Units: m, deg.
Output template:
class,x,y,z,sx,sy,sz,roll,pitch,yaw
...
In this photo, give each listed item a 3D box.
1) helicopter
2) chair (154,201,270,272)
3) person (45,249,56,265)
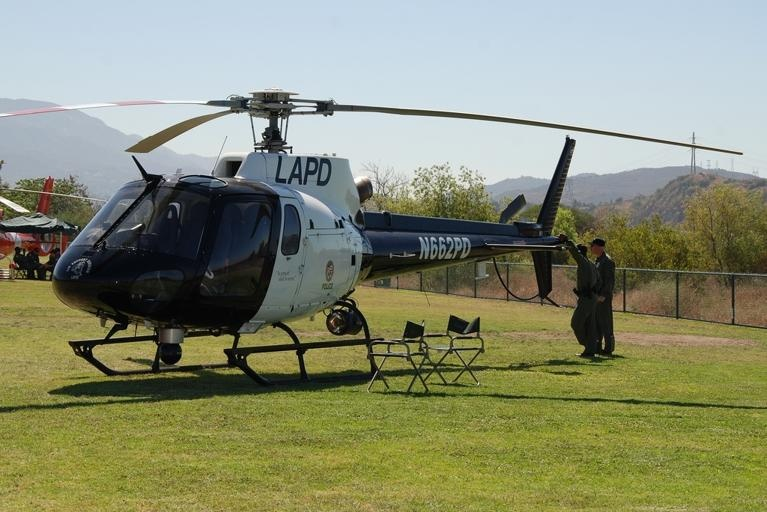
class,x,y,z,sx,sy,sz,roll,pitch,yaw
helicopter,-1.049,-0.218,20.285,10.875,2.845,10.621,0,-3,44
chair,-3.662,-0.404,18.670,2.177,1.441,1.508,17,-9,-28
person,-17.996,0.009,48.357,0.482,0.323,1.186,-2,-11,-22
